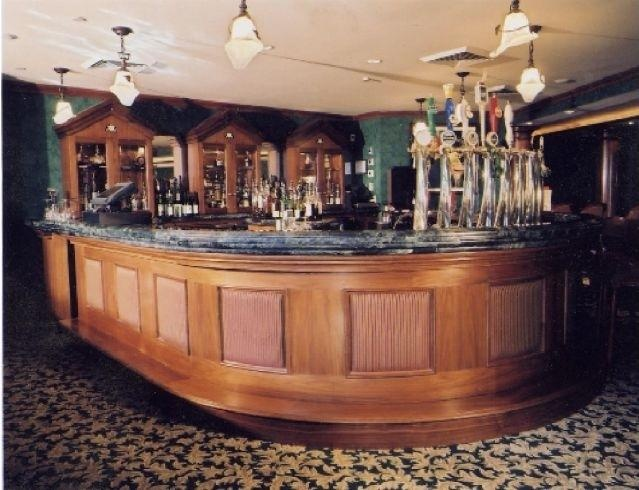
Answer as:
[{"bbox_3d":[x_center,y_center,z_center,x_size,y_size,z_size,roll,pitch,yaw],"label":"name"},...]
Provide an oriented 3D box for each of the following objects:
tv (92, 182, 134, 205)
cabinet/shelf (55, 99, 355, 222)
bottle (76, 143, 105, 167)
[{"bbox_3d":[-1.937,-0.493,5.359,0.294,0.114,0.284,3,27,43],"label":"tv"},{"bbox_3d":[-1.489,-1.315,8.527,4.602,1.697,0.877,-6,8,-34],"label":"cabinet/shelf"},{"bbox_3d":[-2.948,-1.158,7.250,0.335,0.305,0.171,0,-1,-40],"label":"bottle"}]
